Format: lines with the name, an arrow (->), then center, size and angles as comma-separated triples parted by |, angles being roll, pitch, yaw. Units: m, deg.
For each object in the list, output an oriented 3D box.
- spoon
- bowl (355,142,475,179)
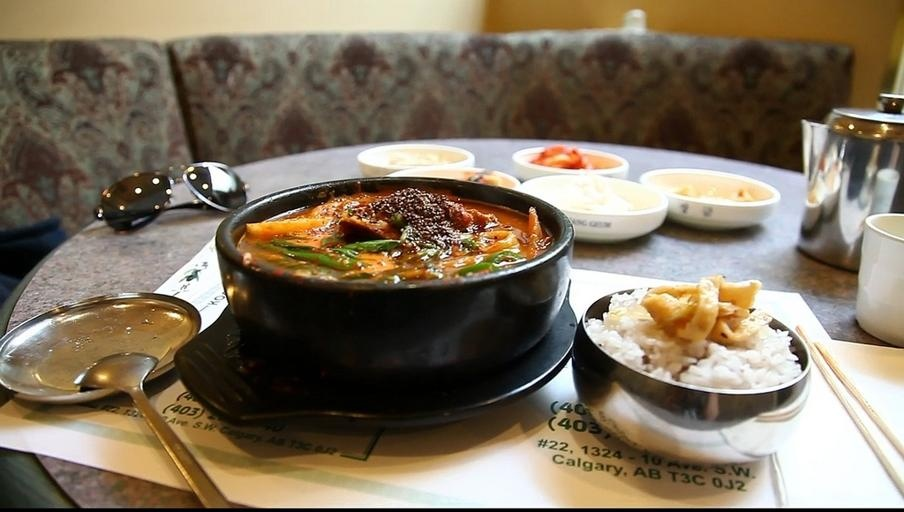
spoon -> -0.784, 0.414, 1.535 | 0.233, 0.048, 0.619 | -31, 55, -26
bowl -> -0.166, -0.446, 2.714 | 0.329, 0.108, 0.288 | 8, 24, 9
